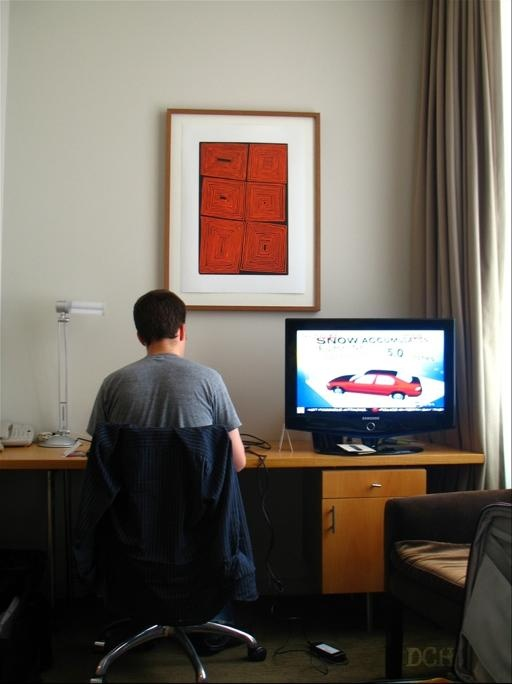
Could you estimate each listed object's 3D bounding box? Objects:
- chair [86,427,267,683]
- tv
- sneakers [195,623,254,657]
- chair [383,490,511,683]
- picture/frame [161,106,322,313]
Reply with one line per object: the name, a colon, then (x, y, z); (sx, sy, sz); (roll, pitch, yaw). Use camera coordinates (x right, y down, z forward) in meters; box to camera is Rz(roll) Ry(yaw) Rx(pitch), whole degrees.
chair: (-0.234, 0.533, 1.801); (0.500, 0.782, 0.527); (0, -1, 1)
tv: (0.429, 0.154, 2.531); (0.479, 0.387, 0.134); (0, -4, 0)
sneakers: (-0.138, 1.037, 2.266); (0.125, 0.047, 0.126); (10, -9, -33)
chair: (0.551, 0.754, 1.989); (0.355, 0.524, 0.448); (1, 0, 27)
picture/frame: (-0.093, -0.548, 2.771); (0.857, 1.114, 0.036); (1, -5, -6)
